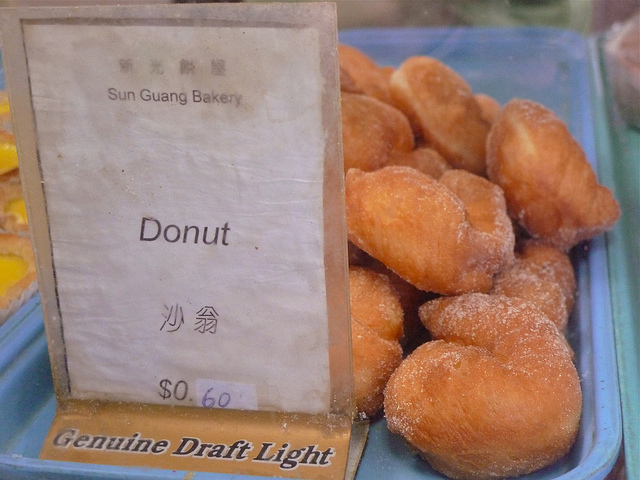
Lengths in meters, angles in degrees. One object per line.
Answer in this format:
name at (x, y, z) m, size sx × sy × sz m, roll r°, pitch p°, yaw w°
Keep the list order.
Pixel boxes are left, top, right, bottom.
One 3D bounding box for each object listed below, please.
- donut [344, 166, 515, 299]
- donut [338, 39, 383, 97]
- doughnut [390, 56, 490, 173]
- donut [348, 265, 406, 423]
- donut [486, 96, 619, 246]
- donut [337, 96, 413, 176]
donut at (0.169, -0.018, 1.118) m, size 0.254 × 0.180 × 0.190 m, roll -2°, pitch 31°, yaw 1°
donut at (0.069, -0.289, 1.232) m, size 0.075 × 0.072 × 0.122 m, roll -1°, pitch 31°, yaw 3°
doughnut at (0.163, -0.195, 1.234) m, size 0.080 × 0.180 × 0.174 m, roll -35°, pitch 43°, yaw 9°
donut at (0.081, 0.143, 0.998) m, size 0.133 × 0.190 × 0.074 m, roll -4°, pitch -9°, yaw 22°
donut at (0.371, -0.098, 1.212) m, size 0.163 × 0.232 × 0.142 m, roll -30°, pitch 9°, yaw 33°
donut at (0.083, -0.157, 1.172) m, size 0.133 × 0.135 × 0.032 m, roll -14°, pitch 4°, yaw -34°
